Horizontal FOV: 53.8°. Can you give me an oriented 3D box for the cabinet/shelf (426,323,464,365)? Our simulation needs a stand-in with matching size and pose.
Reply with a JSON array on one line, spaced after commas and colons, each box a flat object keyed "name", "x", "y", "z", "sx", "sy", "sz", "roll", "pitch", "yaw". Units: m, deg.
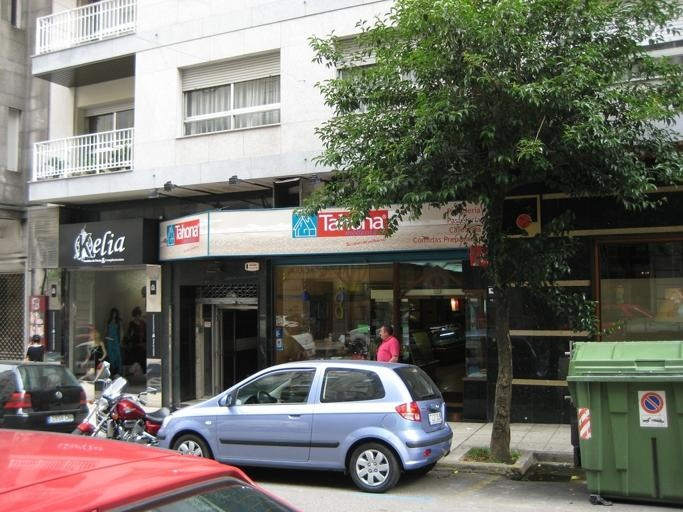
[{"name": "cabinet/shelf", "x": 2.358, "y": 1.915, "z": 14.754, "sx": 0.683, "sy": 0.829, "sz": 0.892, "roll": -2, "pitch": 4, "yaw": -41}]

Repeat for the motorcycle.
[{"name": "motorcycle", "x": -3.627, "y": 2.566, "z": 11.177, "sx": 1.946, "sy": 1.052, "sz": 1.016, "roll": 7, "pitch": -7, "yaw": -27}]

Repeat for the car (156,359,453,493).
[{"name": "car", "x": -0.561, "y": 2.345, "z": 10.366, "sx": 3.689, "sy": 1.365, "sz": 1.942, "roll": 1, "pitch": -5, "yaw": 15}]

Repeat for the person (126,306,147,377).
[{"name": "person", "x": -6.482, "y": 2.619, "z": 21.256, "sx": 0.635, "sy": 1.851, "sz": 1.010, "roll": 4, "pitch": 7, "yaw": -17}]

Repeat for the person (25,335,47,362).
[{"name": "person", "x": -7.486, "y": 2.270, "z": 16.468, "sx": 0.362, "sy": 0.665, "sz": 0.877, "roll": 3, "pitch": 6, "yaw": -21}]

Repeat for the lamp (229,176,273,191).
[{"name": "lamp", "x": -2.215, "y": -1.703, "z": 15.839, "sx": 0.595, "sy": 0.142, "sz": 0.366, "roll": 11, "pitch": -10, "yaw": -26}]

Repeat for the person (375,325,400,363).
[{"name": "person", "x": 0.954, "y": 1.752, "z": 13.547, "sx": 0.415, "sy": 0.651, "sz": 1.192, "roll": 6, "pitch": 6, "yaw": 4}]
